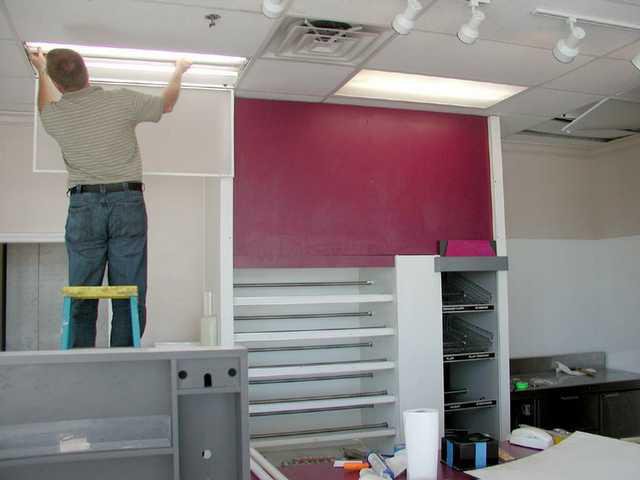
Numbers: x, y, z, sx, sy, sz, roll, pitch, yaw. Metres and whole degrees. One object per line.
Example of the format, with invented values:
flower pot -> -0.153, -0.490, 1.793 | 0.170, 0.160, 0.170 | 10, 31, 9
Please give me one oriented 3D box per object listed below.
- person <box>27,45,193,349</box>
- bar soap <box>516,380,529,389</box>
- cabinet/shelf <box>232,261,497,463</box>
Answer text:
person -> -1.201, -0.315, 3.182 | 0.814, 1.666, 0.299 | 0, -7, -19
bar soap -> 1.688, 1.216, 4.652 | 0.074, 0.026, 0.074 | -1, 0, 17
cabinet/shelf -> 0.279, 0.873, 4.034 | 1.621, 1.474, 0.515 | 0, -2, -20
